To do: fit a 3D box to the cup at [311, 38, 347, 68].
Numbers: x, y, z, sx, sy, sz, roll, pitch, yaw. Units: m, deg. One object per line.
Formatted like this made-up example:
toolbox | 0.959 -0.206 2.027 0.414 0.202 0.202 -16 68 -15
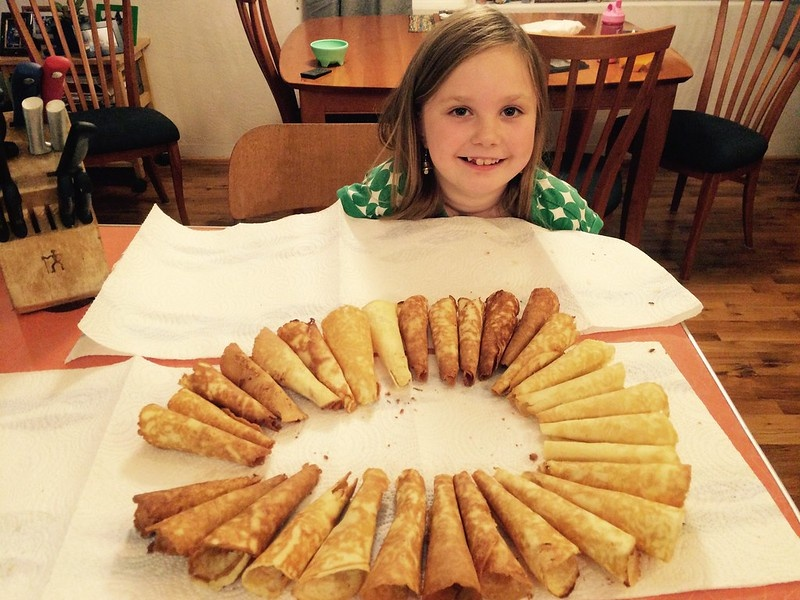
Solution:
cup | -0.259 -0.899 2.292 0.130 0.075 0.127 0 35 0
